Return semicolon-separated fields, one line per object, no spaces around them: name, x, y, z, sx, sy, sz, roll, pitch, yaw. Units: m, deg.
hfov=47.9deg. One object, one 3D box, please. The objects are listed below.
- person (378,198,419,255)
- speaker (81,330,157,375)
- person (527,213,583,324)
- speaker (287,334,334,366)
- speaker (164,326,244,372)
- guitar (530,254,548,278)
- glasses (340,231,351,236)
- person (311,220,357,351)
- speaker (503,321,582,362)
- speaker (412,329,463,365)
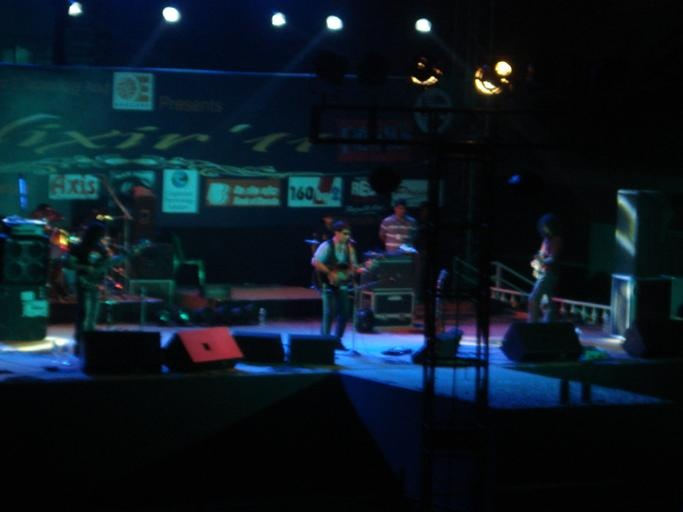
person;1.038;-0.519;13.667;0.645;0.928;0.581;2;4;5
speaker;-2.789;1.269;10.329;1.070;0.600;0.525;-1;1;9
person;3.234;0.238;12.170;0.453;1.755;1.180;3;4;14
speaker;-0.410;1.340;10.881;0.505;0.281;0.485;1;-3;5
speaker;-1.965;1.263;10.617;0.790;0.472;0.925;10;6;42
guitar;3.110;0.175;12.154;0.186;0.369;0.412;2;4;5
glasses;0.067;-0.346;11.958;0.151;0.038;0.142;2;-7;-15
person;-0.042;0.459;11.768;0.684;1.947;0.553;-1;5;-32
speaker;2.976;1.238;11.359;0.989;0.528;0.813;-2;1;3
speaker;1.390;1.279;10.748;0.741;0.450;0.520;0;-2;1
